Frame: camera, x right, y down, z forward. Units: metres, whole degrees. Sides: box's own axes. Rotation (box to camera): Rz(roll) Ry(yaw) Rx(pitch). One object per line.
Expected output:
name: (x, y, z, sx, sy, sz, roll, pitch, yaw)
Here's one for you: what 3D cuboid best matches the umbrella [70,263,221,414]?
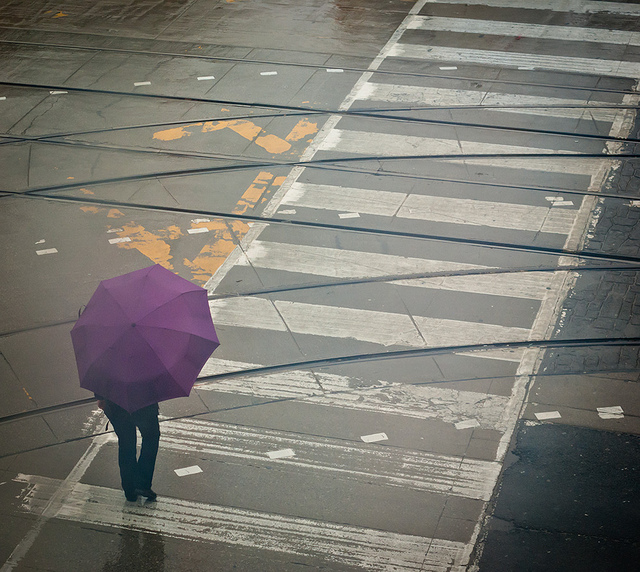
umbrella: (-1.554, 0.447, 7.677, 1.236, 1.031, 0.900, -16, 26, -28)
